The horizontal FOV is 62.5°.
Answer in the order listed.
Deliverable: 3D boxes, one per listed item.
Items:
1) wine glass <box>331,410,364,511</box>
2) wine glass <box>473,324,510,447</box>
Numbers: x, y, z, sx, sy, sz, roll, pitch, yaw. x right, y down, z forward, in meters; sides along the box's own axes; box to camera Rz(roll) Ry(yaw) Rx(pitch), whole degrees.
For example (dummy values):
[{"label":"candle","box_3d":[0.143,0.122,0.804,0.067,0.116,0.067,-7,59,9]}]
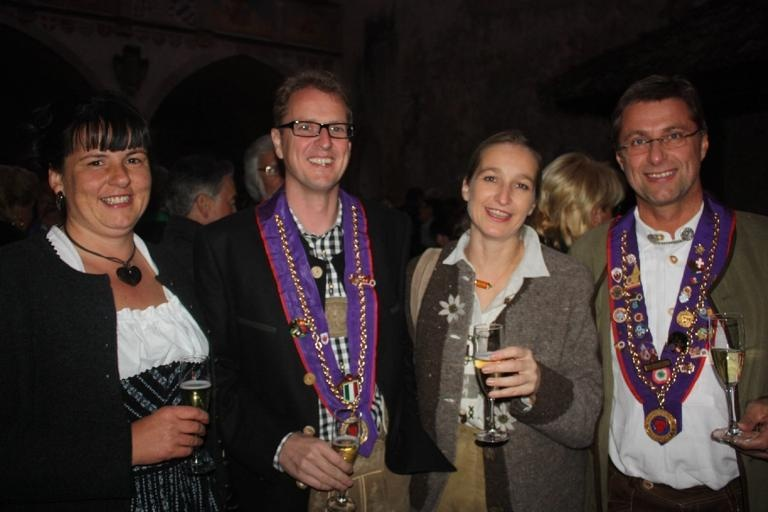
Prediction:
[{"label":"wine glass","box_3d":[-0.225,1.162,3.614,0.193,0.574,0.210,0,5,-1]},{"label":"wine glass","box_3d":[0.611,0.757,3.611,0.194,0.757,0.358,1,5,9]}]
